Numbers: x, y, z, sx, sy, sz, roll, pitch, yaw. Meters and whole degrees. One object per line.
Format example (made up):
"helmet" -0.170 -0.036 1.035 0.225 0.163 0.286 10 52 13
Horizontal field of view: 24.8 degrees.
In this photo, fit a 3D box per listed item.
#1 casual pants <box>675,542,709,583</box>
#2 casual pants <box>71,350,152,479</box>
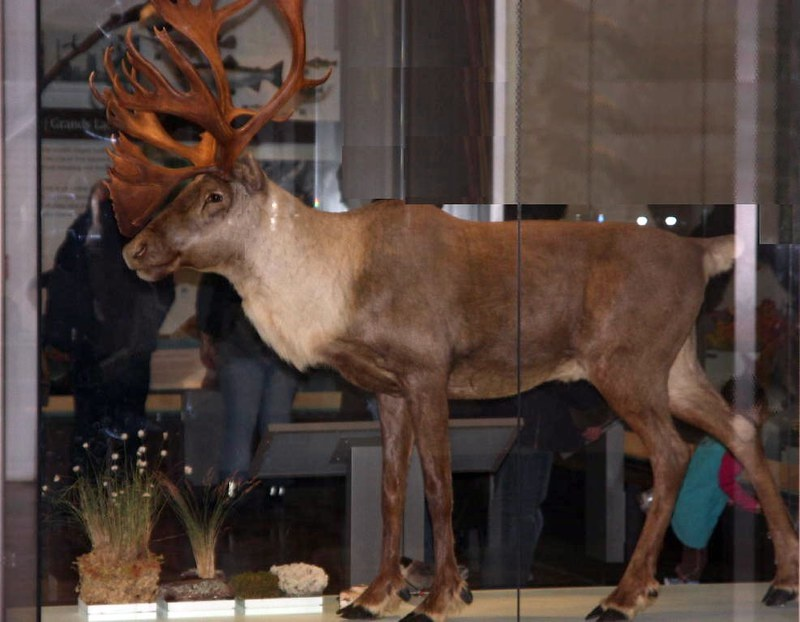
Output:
"casual pants" 0.909 0.791 5.678 0.086 0.179 0.125 2 2 -3
"casual pants" -0.946 0.345 5.943 0.280 0.525 0.071 -5 31 -21
